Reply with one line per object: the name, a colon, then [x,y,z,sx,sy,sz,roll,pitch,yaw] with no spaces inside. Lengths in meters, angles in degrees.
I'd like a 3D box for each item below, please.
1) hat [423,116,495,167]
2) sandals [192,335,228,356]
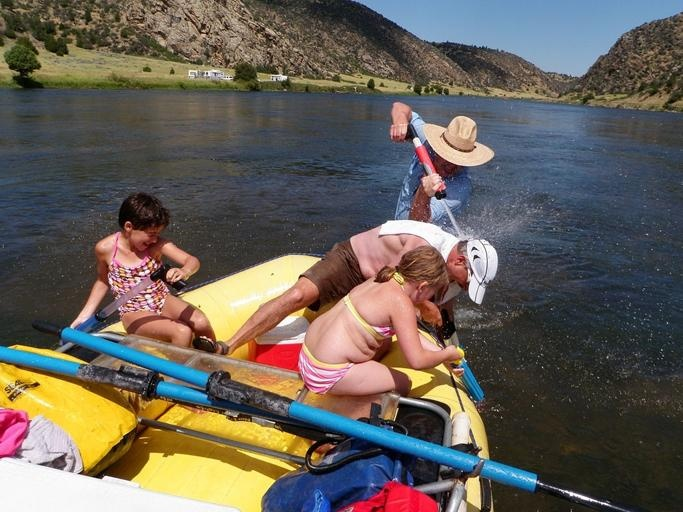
hat: [1.270,-1.202,5.306,0.675,0.558,0.759,-2,26,-15]
sandals: [-1.158,0.779,4.337,0.379,0.109,0.107,14,2,14]
